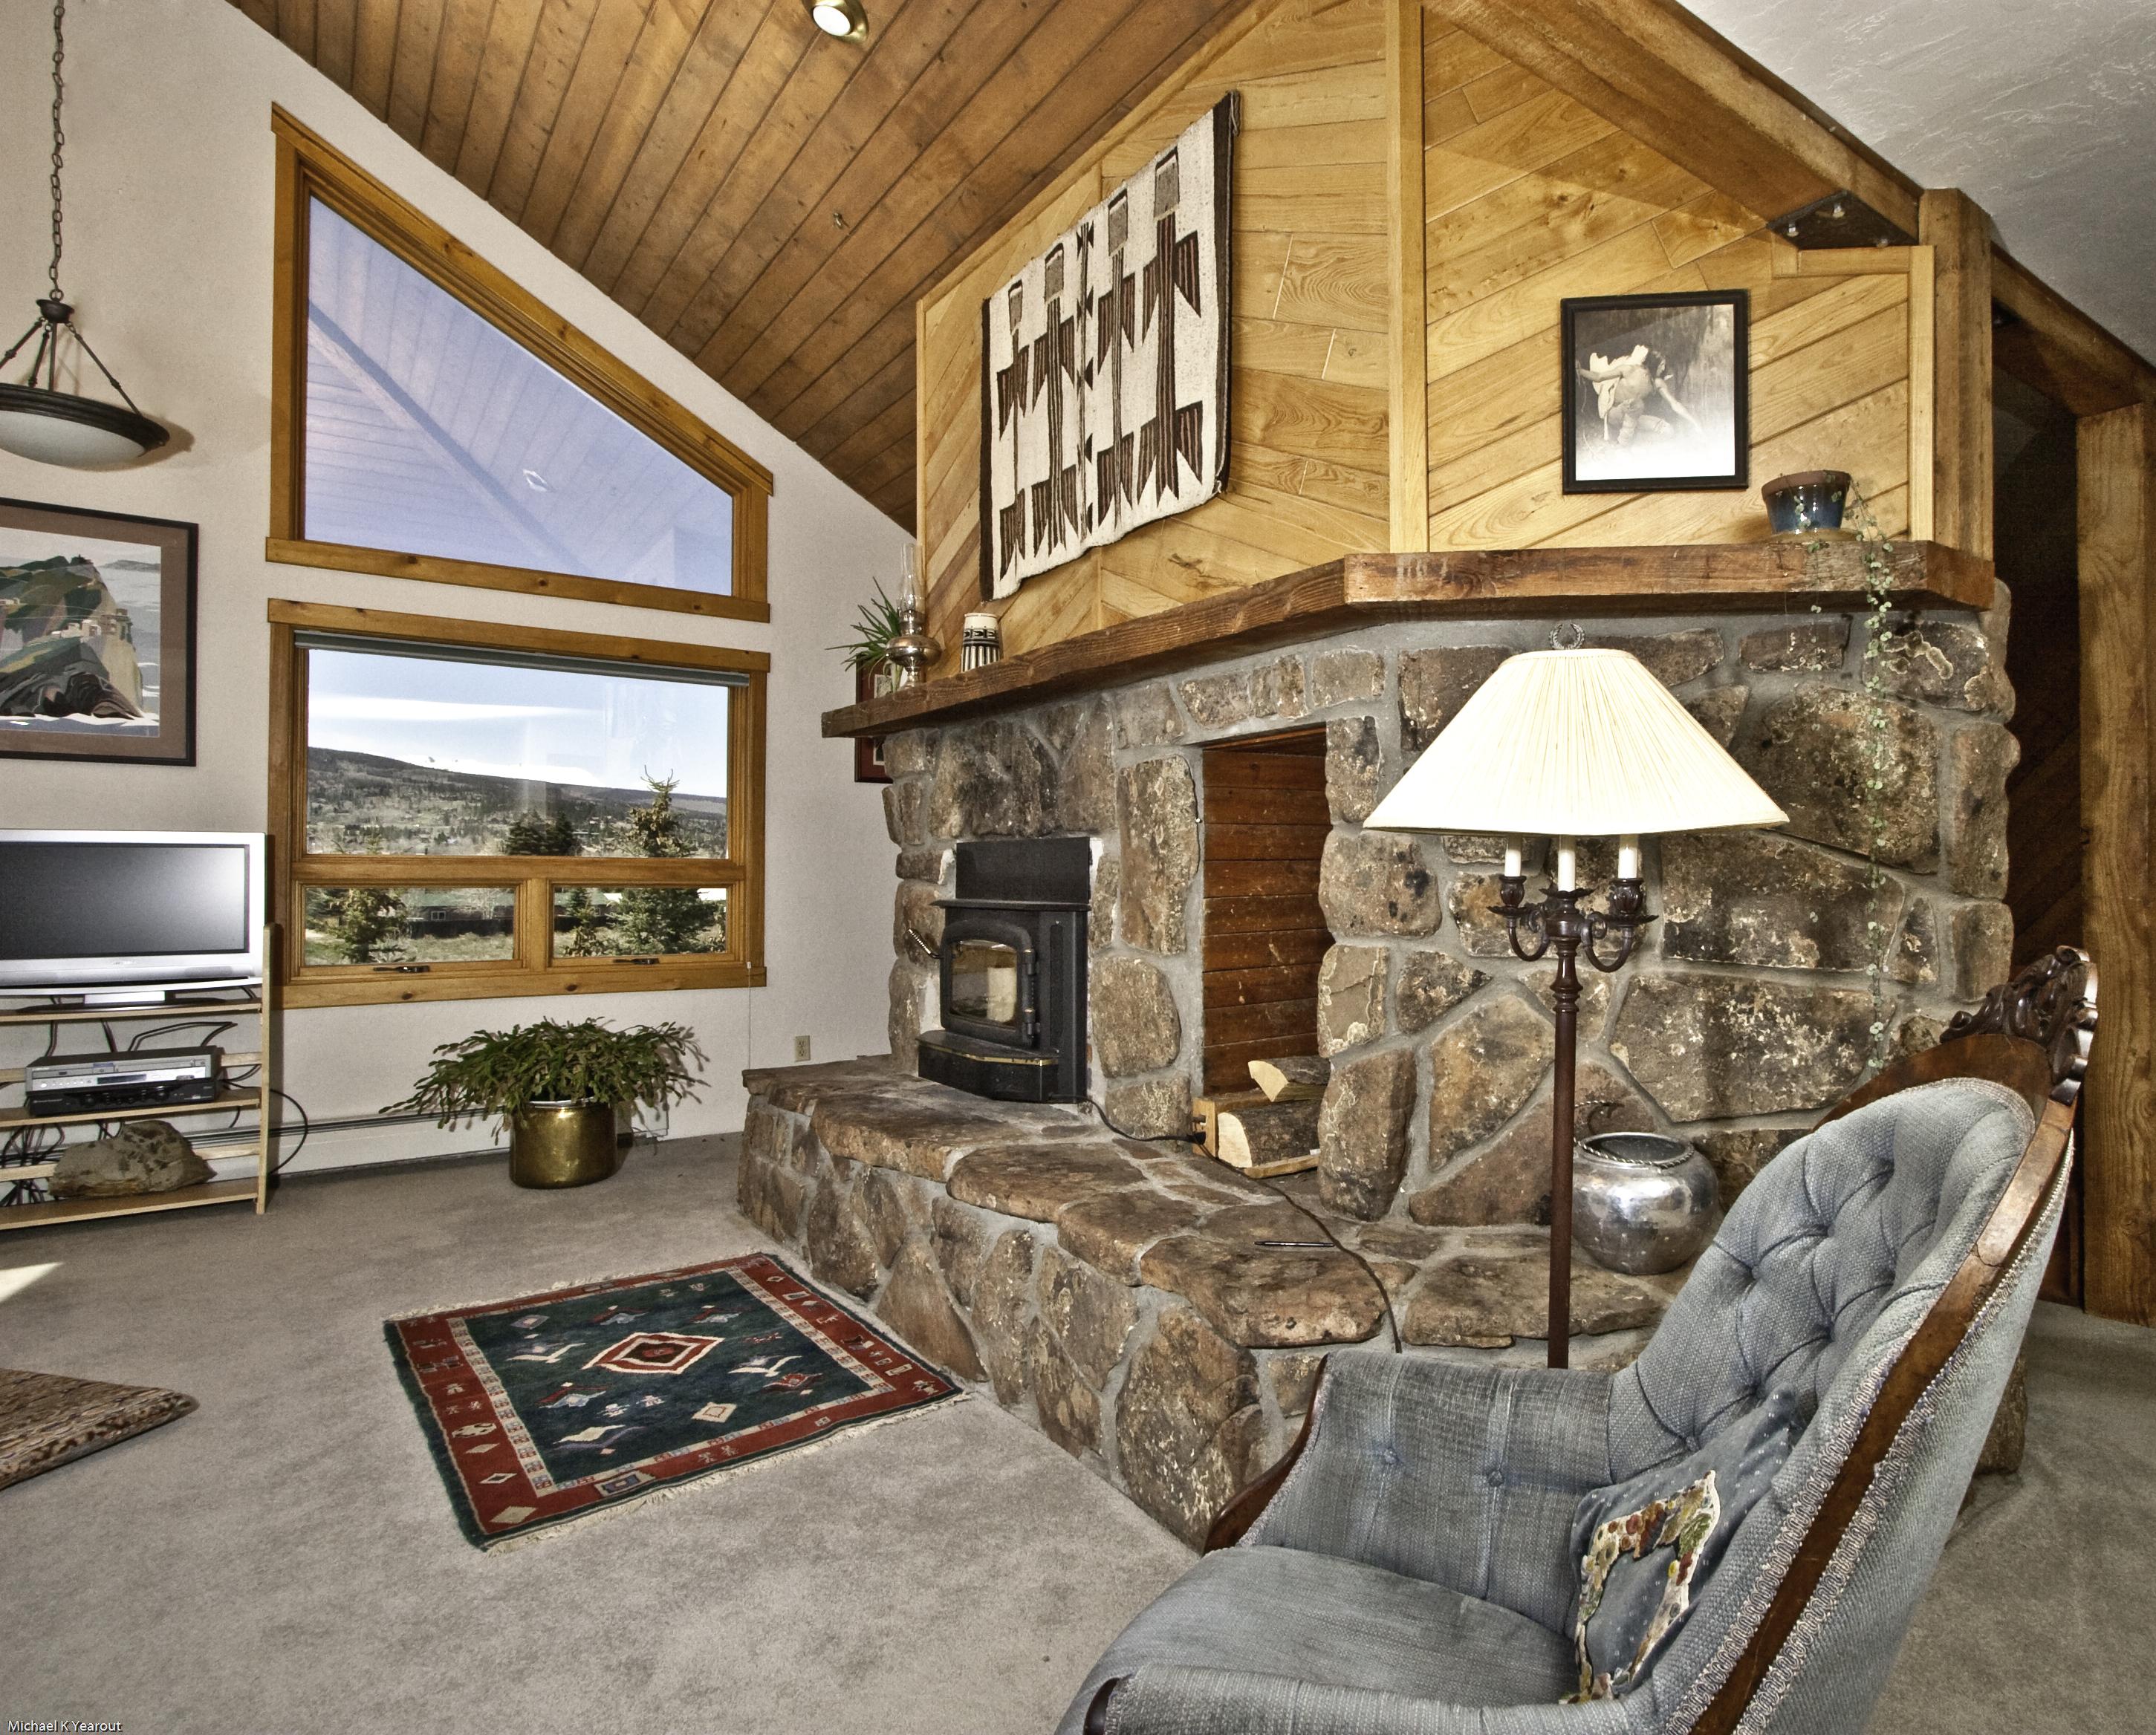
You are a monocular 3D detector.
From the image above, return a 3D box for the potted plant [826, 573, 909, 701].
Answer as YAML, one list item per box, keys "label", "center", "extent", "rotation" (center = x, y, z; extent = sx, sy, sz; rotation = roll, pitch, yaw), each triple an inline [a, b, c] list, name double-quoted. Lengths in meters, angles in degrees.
- label: "potted plant"
  center: [-0.631, -0.758, 4.813]
  extent: [0.238, 0.301, 0.288]
  rotation: [0, 8, 26]

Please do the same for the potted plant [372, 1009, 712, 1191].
- label: "potted plant"
  center: [-1.847, 0.813, 5.073]
  extent: [0.949, 0.596, 0.713]
  rotation: [-3, 1, -30]

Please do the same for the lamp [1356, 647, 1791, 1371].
- label: "lamp"
  center: [0.864, 0.427, 2.526]
  extent: [0.708, 1.594, 0.689]
  rotation: [0, 4, -4]

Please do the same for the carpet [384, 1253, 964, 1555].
- label: "carpet"
  center: [-1.024, 1.219, 3.489]
  extent: [1.107, 0.069, 1.136]
  rotation: [-7, 12, -34]

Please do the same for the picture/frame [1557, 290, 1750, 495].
- label: "picture/frame"
  center: [1.232, -1.005, 2.996]
  extent: [0.448, 0.502, 0.024]
  rotation: [0, -1, 11]
